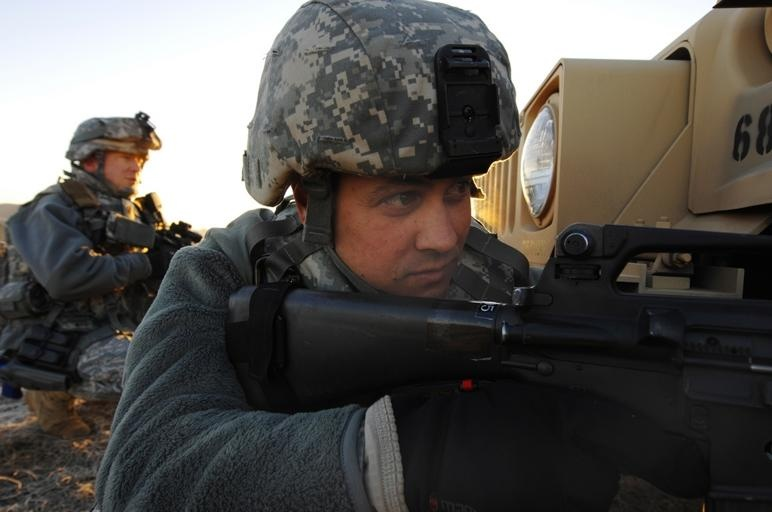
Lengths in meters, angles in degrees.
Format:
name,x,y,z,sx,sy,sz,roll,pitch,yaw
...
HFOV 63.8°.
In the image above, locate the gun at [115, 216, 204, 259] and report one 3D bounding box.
name,x,y,z,sx,sy,sz,roll,pitch,yaw
gun,-1.967,-0.145,5.212,0.288,0.425,1.030,6,6,24
